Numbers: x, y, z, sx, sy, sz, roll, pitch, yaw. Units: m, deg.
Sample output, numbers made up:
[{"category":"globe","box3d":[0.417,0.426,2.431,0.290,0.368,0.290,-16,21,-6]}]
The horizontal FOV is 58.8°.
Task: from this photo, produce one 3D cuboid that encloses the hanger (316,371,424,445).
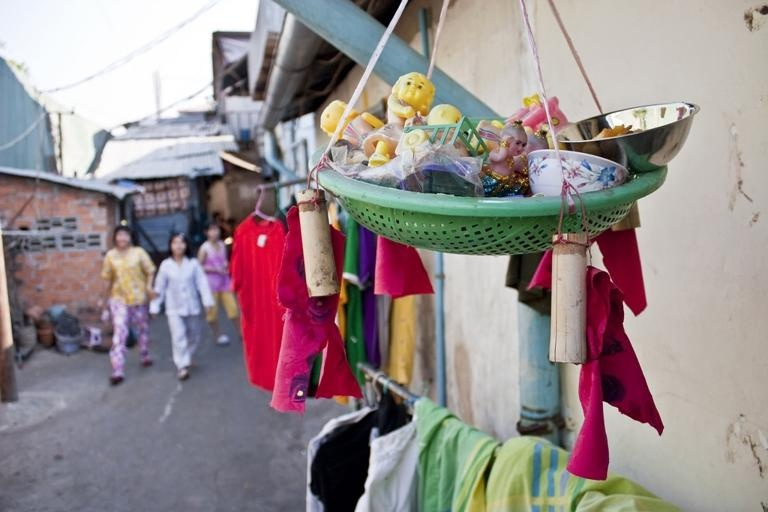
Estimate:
[{"category":"hanger","box3d":[-0.020,0.478,2.225,0.336,0.211,0.364,-1,3,21]}]
